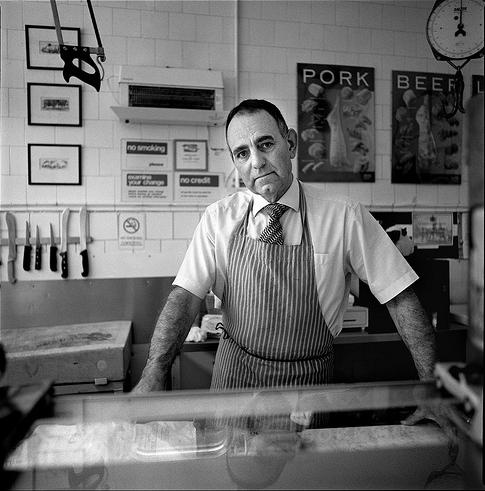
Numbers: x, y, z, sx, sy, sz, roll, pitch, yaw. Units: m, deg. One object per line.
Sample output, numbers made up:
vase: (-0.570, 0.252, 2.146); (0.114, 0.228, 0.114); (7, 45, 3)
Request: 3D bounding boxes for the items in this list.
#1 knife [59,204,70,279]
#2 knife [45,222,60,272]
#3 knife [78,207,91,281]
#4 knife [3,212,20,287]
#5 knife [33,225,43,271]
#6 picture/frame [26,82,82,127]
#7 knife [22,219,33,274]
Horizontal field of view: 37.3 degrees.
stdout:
knife: (-0.870, -0.001, 3.536); (0.048, 0.342, 0.061); (0, 4, 2)
knife: (-0.917, 0.021, 3.515); (0.041, 0.238, 0.061); (-2, 4, -18)
knife: (-0.773, -0.005, 3.552); (0.052, 0.346, 0.045); (-2, 4, -16)
knife: (-1.103, 0.022, 3.471); (0.051, 0.337, 0.043); (-2, 4, -23)
knife: (-0.988, 0.024, 3.497); (0.037, 0.215, 0.050); (-1, 4, -12)
picture/frame: (-0.916, -0.670, 3.478); (0.164, 0.192, 0.010); (-1, 5, -14)
knife: (-1.035, 0.015, 3.486); (0.043, 0.241, 0.042); (-2, 4, -20)
